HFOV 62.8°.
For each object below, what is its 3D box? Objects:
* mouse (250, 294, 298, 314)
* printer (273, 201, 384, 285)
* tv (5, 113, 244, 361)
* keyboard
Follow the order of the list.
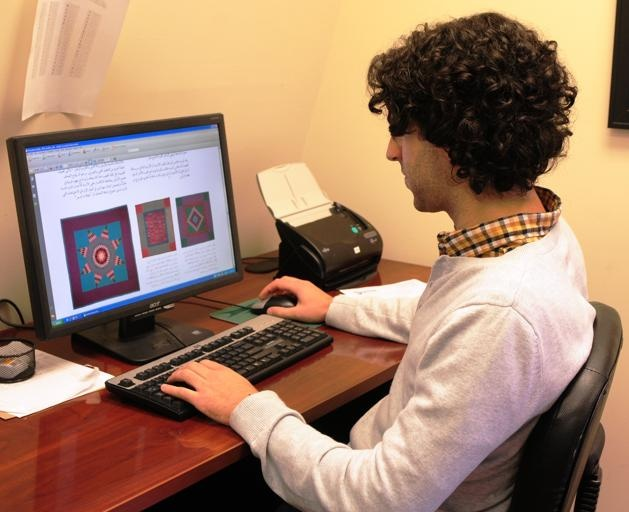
[{"bbox_3d":[-0.108,0.124,1.358,0.109,0.027,0.054,2,9,26],"label":"mouse"},{"bbox_3d":[0.033,-0.036,1.630,0.245,0.154,0.296,29,35,32],"label":"printer"},{"bbox_3d":[-0.454,-0.039,1.179,0.302,0.438,0.577,18,23,36],"label":"tv"},{"bbox_3d":[-0.167,0.276,1.134,0.161,0.043,0.367,19,27,38],"label":"keyboard"}]
